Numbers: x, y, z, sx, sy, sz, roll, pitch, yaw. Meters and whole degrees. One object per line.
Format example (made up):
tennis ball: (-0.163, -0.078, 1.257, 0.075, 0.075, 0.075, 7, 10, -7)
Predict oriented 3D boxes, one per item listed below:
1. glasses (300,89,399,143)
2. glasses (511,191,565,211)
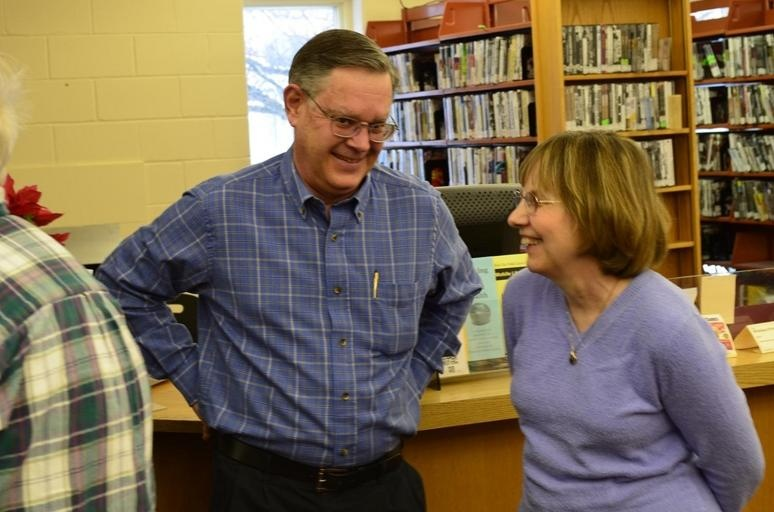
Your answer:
glasses: (-0.081, -0.368, 1.853, 0.191, 0.054, 0.189, -1, 39, -38)
glasses: (0.413, -0.149, 1.756, 0.140, 0.041, 0.128, 4, 6, -18)
